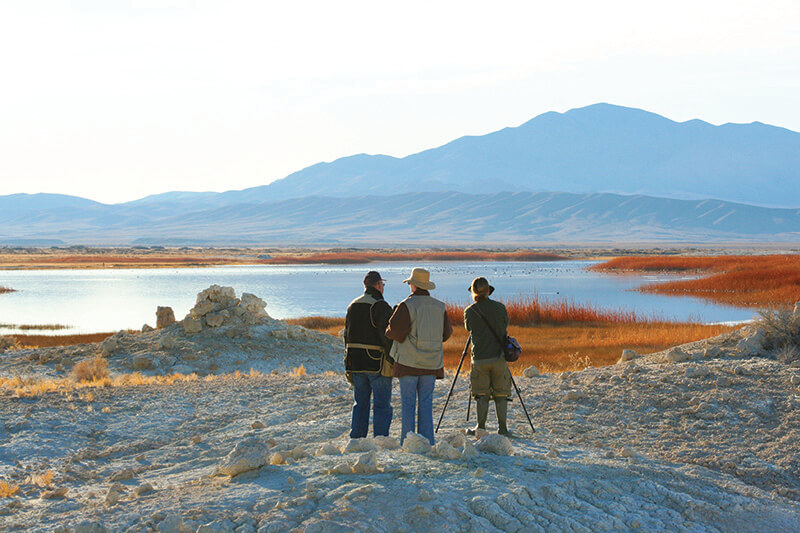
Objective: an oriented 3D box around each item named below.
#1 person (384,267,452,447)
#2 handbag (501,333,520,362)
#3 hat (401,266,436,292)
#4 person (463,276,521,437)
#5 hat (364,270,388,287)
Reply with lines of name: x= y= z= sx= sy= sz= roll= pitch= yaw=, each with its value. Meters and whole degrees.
person: x=0.355 y=1.770 z=16.198 sx=1.089 sy=3.413 sz=1.056 roll=4 pitch=8 yaw=14
handbag: x=2.271 y=1.620 z=16.901 sx=0.371 sy=0.504 sz=0.514 roll=0 pitch=0 yaw=11
hat: x=0.426 y=0.334 z=16.464 sx=0.553 sy=0.295 sz=0.517 roll=20 pitch=6 yaw=-16
person: x=1.848 y=1.812 z=16.910 sx=1.064 sy=3.104 sz=0.615 roll=3 pitch=8 yaw=6
hat: x=-0.477 y=0.212 z=16.594 sx=0.277 sy=0.217 sz=0.397 roll=7 pitch=16 yaw=38
